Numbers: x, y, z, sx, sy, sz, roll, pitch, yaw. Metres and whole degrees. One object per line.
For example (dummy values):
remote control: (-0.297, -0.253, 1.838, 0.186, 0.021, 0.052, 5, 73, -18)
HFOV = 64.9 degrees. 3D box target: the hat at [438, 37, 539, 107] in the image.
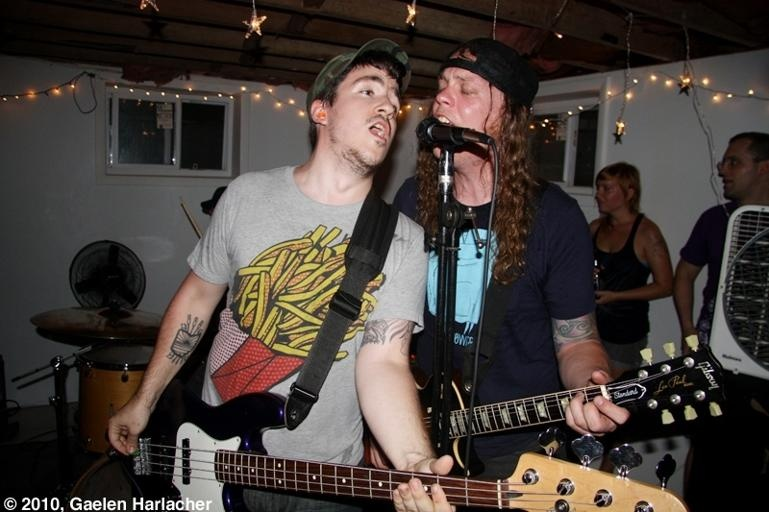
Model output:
hat: (0.646, -1.046, 3.666, 0.481, 0.220, 0.393, 29, 8, -15)

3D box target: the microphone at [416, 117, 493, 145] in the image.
microphone: (0.347, -0.623, 3.106, 0.152, 0.133, 0.395, -33, 24, -33)
